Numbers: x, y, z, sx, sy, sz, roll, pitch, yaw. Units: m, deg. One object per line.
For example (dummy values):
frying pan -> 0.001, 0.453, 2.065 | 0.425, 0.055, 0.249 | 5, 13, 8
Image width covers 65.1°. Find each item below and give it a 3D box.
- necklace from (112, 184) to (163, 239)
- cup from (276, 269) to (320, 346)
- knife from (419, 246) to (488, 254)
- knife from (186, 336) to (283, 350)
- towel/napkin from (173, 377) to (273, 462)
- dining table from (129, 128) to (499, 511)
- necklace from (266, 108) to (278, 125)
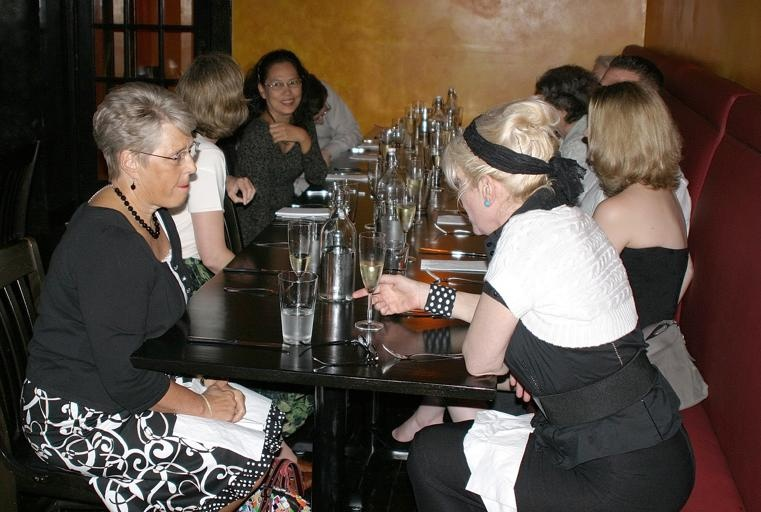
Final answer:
necklace -> -0.849, -0.154, 2.102 | 0.023, 0.163, 0.127 | -39, 3, -21
cup -> -0.271, 0.160, 1.967 | 0.121, 0.222, 0.148 | -1, 12, -9
knife -> 0.326, -0.030, 2.701 | 0.259, 0.022, 0.037 | 1, 12, -6
knife -> -0.461, 0.276, 1.910 | 0.333, 0.021, 0.038 | 2, 12, 3
towel/napkin -> -0.543, 0.575, 2.048 | 0.274, 0.084, 0.278 | 16, 31, -10
dining table -> -0.235, 0.191, 2.113 | 0.886, 0.852, 0.893 | 3, 25, -1
necklace -> -0.691, -0.900, 3.842 | 0.106, 0.080, 0.105 | -2, 9, -1
